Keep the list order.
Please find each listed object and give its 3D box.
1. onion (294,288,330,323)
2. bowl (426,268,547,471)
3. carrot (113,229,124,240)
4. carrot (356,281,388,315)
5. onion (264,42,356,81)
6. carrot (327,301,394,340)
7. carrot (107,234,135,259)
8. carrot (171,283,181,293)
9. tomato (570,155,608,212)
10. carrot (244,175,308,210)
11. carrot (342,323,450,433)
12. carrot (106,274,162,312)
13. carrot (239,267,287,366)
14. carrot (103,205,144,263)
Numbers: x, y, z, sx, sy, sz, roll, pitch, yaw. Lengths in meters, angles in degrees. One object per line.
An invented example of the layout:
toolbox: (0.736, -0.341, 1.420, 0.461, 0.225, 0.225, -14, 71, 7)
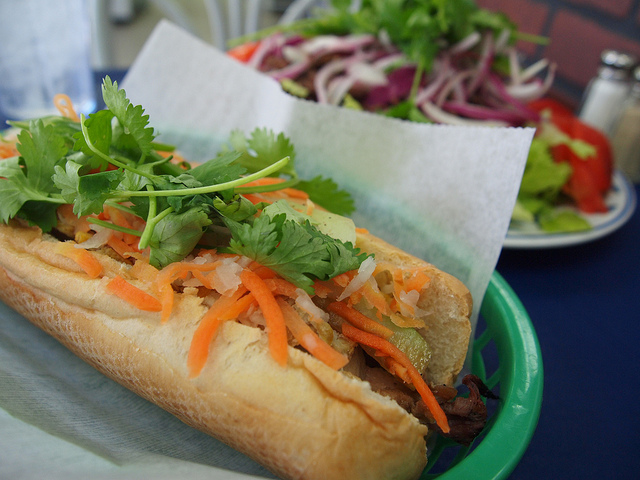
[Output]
onion: (-0.016, 0.213, 1.756, 0.105, 0.033, 0.083, 32, 29, -10)
bowl: (0.519, 0.463, 1.789, 0.459, 0.247, 0.577, 3, 48, 13)
carrot: (-0.662, -0.016, 1.908, 0.029, 0.030, 0.007, 39, 47, 9)
carrot: (0.157, 0.182, 1.825, 0.067, 0.025, 0.111, -35, 91, -32)
onion: (-0.034, -0.866, 2.717, 0.365, 0.183, 0.540, -18, 25, -37)
carrot: (0.125, 0.253, 1.857, 0.214, 0.069, 0.070, 24, 37, 15)
carrot: (-0.649, 0.019, 1.897, 0.133, 0.036, 0.032, 26, 27, 30)
carrot: (-0.455, 0.150, 1.825, 0.024, 0.028, 0.007, 6, 12, -7)
tomato: (1.262, -0.253, 2.764, 0.080, 0.206, 0.161, 16, 20, 36)
carrot: (-0.177, -0.171, 2.057, 0.145, 0.047, 0.152, 4, 34, -27)
carrot: (0.248, 0.430, 1.836, 0.100, 0.692, 0.118, 11, 65, 52)
carrot: (-0.567, 0.168, 1.763, 0.209, 0.022, 0.080, 31, 83, 11)
carrot: (-0.150, 0.213, 1.708, 0.085, 0.120, 0.280, -17, 47, -24)
carrot: (-0.620, -0.009, 1.900, 0.165, 0.186, 0.054, 0, 40, 32)
